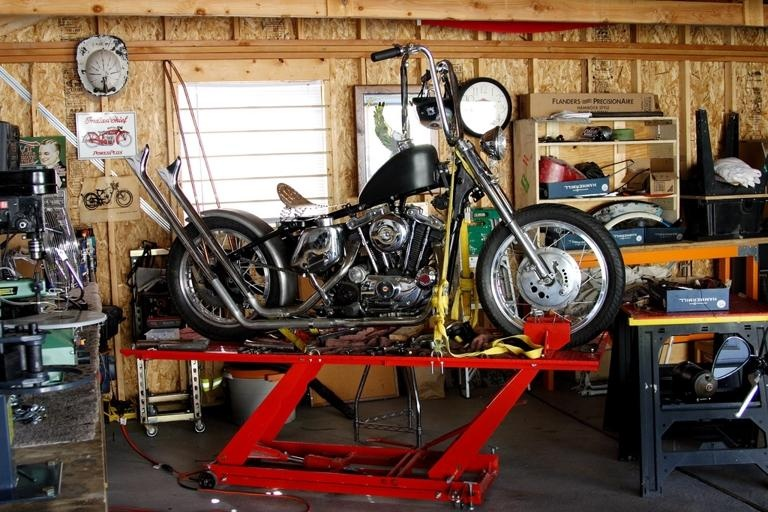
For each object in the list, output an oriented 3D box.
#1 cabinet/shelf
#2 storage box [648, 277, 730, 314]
[{"bbox_3d":[1.838,-0.628,5.923,1.422,1.044,0.435,-1,0,-10],"label":"cabinet/shelf"},{"bbox_3d":[2.002,0.265,4.453,0.320,0.108,0.314,-1,8,0],"label":"storage box"}]
